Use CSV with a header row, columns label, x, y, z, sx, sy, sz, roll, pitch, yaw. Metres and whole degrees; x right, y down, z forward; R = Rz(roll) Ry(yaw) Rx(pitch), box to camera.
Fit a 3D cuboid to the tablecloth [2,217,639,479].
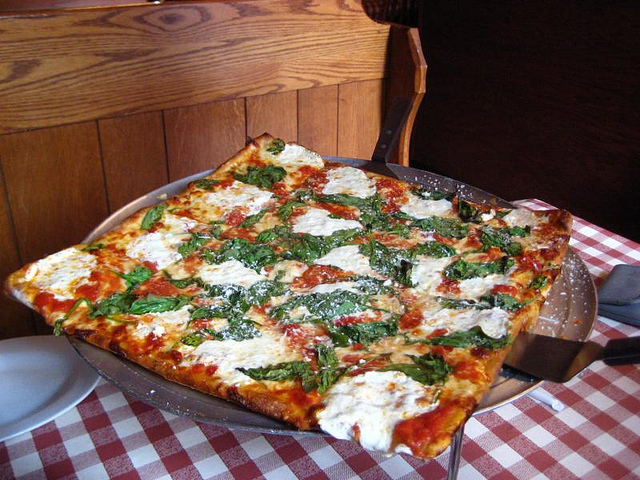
label,x,y,z,sx,sy,sz,roll,pitch,yaw
tablecloth,-0.004,0.293,1.333,1.321,0.262,0.992,-7,23,-18
